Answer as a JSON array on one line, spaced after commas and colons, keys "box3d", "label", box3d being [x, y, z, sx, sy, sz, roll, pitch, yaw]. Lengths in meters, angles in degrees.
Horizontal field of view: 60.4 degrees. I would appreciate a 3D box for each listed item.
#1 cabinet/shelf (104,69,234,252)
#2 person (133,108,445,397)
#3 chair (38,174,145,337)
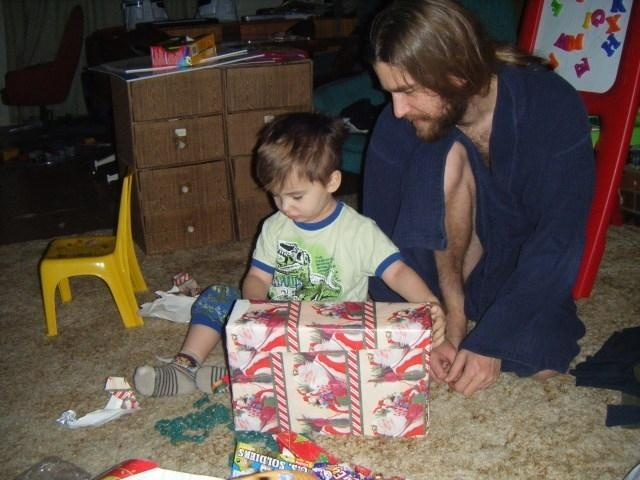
[{"box3d": [-0.640, -0.349, 2.363, 0.414, 0.688, 0.468, -10, 22, -25], "label": "cabinet/shelf"}, {"box3d": [-0.095, 0.031, 1.539, 0.784, 0.725, 0.500, 2, 17, -10], "label": "person"}, {"box3d": [-0.770, 0.037, 1.863, 0.351, 0.469, 0.292, -3, 22, -12], "label": "chair"}]
